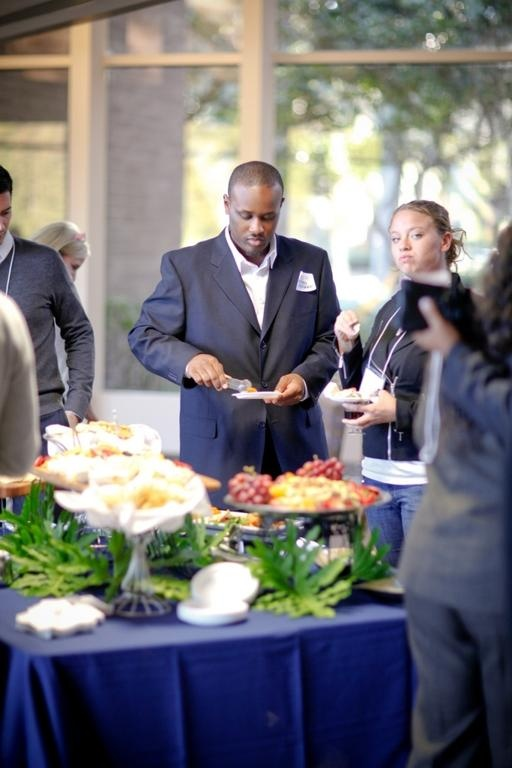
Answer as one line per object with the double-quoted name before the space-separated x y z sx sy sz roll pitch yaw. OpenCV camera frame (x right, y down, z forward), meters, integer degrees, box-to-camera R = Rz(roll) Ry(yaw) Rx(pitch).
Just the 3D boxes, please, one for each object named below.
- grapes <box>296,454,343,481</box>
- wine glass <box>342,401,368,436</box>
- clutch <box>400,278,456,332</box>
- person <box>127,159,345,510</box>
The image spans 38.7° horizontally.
"grapes" 0.138 0.173 1.604 0.098 0.052 0.193 -1 7 3
"wine glass" 0.281 0.094 2.164 0.086 0.129 0.089 0 -9 1
"clutch" 0.313 -0.143 1.334 0.107 0.094 0.040 8 -4 -18
"person" -0.033 -0.173 2.460 0.777 1.128 0.577 -3 8 -10
